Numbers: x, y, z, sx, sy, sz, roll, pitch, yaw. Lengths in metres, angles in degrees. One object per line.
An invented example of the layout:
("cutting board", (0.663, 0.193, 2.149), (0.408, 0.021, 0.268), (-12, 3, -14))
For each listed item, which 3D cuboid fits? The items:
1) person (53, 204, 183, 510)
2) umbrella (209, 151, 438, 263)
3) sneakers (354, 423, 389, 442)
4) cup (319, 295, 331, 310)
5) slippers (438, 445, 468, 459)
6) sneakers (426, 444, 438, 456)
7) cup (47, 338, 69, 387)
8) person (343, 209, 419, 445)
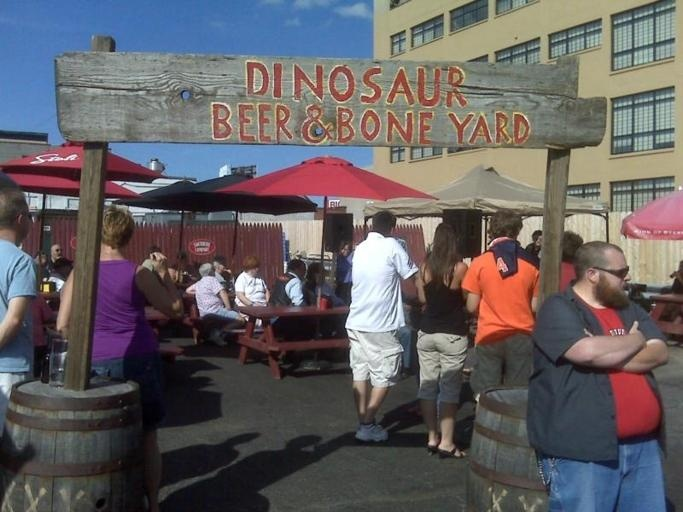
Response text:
("person", (-1.621, 0.827, 5.782), (0.842, 2.392, 0.749), (-1, 6, -13))
("umbrella", (-0.130, -0.884, 9.821), (1.624, 1.083, 1.599), (-5, 9, -31))
("sneakers", (0.290, 1.715, 7.493), (0.252, 0.127, 0.168), (2, 0, -38))
("cup", (-0.223, 0.619, 10.300), (0.136, 0.229, 0.139), (-3, -9, 0))
("slippers", (1.017, 1.805, 7.136), (0.239, 0.092, 0.106), (0, -2, -8))
("sneakers", (0.842, 1.806, 7.279), (0.077, 0.095, 0.159), (-2, 6, -28))
("cup", (-2.010, 0.740, 5.474), (0.134, 0.314, 0.260), (-2, 6, -22))
("person", (0.377, 0.683, 7.558), (0.638, 2.207, 0.465), (0, 5, 0))
